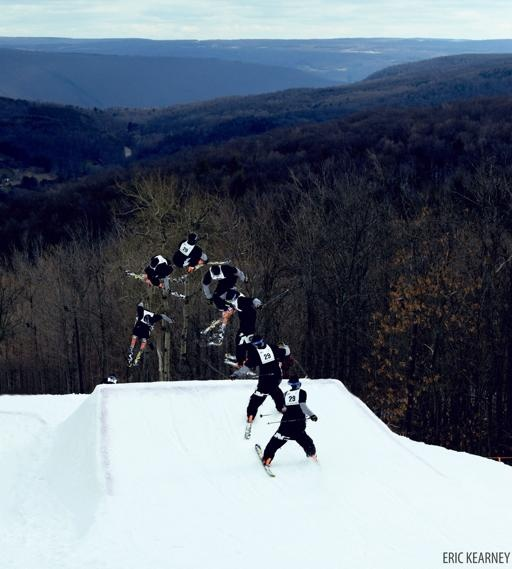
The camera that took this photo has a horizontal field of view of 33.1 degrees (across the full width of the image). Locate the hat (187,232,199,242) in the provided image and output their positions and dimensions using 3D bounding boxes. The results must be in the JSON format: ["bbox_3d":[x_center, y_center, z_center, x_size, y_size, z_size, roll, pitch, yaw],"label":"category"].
[{"bbox_3d":[-2.247,-1.635,30.579,0.311,0.382,0.911,-1,3,-6],"label":"hat"}]

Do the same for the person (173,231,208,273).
[{"bbox_3d":[-2.743,-1.374,35.440,0.949,1.171,1.419,-37,-17,-45],"label":"person"}]
